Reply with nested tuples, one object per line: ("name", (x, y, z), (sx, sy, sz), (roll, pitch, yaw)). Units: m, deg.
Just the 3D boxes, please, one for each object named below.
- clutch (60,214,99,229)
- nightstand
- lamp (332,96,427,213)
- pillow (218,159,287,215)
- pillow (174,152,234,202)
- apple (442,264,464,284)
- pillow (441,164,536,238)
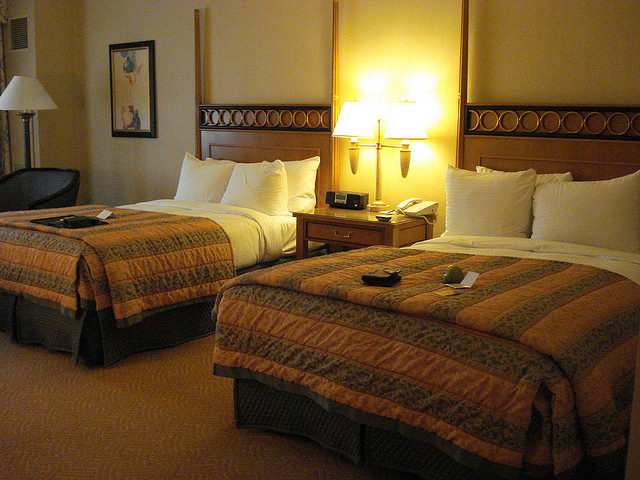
("clutch", (-1.786, -0.144, 3.728), (0.291, 0.070, 0.283), (-7, 14, -28))
("nightstand", (0.365, 0.089, 4.353), (0.934, 0.626, 0.671), (8, 10, 33))
("lamp", (0.559, -0.778, 4.405), (1.068, 0.978, 0.450), (9, 15, 36))
("pillow", (-0.630, -0.517, 4.758), (0.724, 0.471, 0.360), (5, 12, 35))
("pillow", (-1.139, -0.583, 5.034), (0.537, 0.487, 0.157), (12, -10, 32))
("apple", (0.641, 0.167, 2.425), (0.092, 0.087, 0.089), (-22, -2, -2))
("pillow", (1.248, -0.280, 3.649), (0.709, 0.509, 0.263), (9, 24, 42))
